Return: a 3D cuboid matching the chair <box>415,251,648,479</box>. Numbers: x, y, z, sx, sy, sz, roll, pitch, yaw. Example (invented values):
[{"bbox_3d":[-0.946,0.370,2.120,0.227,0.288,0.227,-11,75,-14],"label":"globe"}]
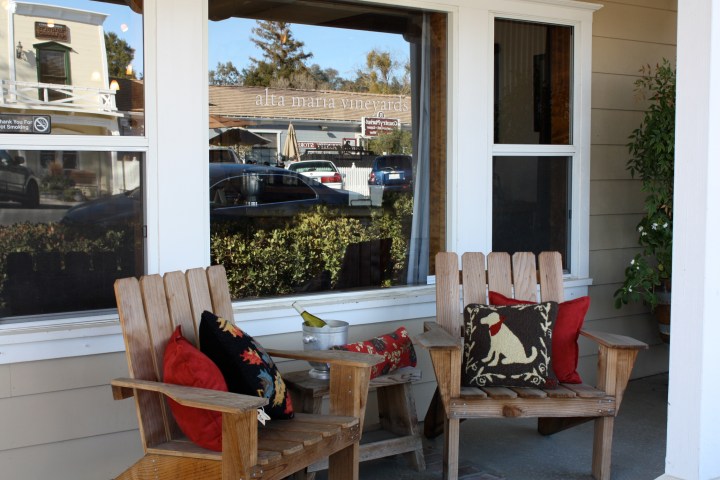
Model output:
[{"bbox_3d":[0.838,0.635,3.827,1.360,1.529,1.290,0,1,-1],"label":"chair"}]
